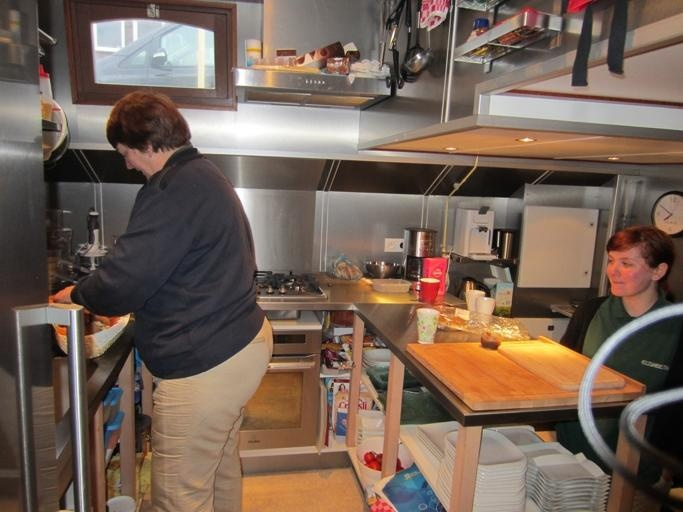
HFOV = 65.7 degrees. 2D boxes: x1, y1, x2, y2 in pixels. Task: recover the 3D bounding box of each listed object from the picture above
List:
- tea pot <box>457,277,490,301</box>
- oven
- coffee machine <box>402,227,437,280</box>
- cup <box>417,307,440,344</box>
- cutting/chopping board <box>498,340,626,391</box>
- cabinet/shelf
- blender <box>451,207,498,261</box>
[{"bbox_3d":[0.835,0.208,3.293,0.222,0.196,0.127,2,9,11],"label":"tea pot"},{"bbox_3d":[-0.421,0.703,2.895,0.503,0.624,0.474,6,-4,-24],"label":"oven"},{"bbox_3d":[0.468,-0.001,3.262,0.205,0.315,0.210,3,6,-31],"label":"coffee machine"},{"bbox_3d":[0.317,0.275,2.099,0.128,0.136,0.124,-1,5,0],"label":"cup"},{"bbox_3d":[0.719,0.358,1.850,0.232,0.041,0.407,-1,7,-15],"label":"cutting/chopping board"},{"bbox_3d":[0.469,-0.630,1.587,0.129,0.085,0.420,0,8,-18],"label":"cabinet/shelf"},{"bbox_3d":[0.775,-0.149,3.286,0.223,0.362,0.363,7,-1,-38],"label":"blender"}]
